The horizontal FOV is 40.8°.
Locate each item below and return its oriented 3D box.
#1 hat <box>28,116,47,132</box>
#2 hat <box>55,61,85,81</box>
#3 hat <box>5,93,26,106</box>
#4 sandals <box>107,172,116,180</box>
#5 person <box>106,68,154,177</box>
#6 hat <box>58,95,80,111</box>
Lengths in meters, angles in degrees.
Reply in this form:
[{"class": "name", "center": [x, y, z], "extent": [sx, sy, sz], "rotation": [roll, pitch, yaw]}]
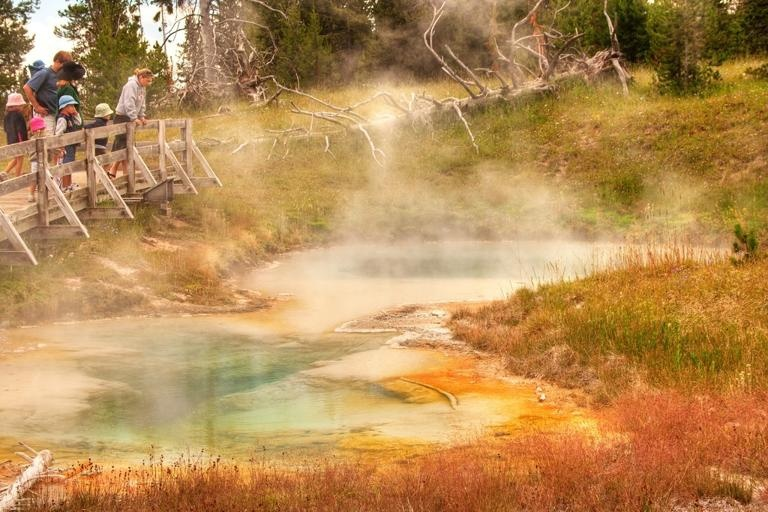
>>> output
[{"class": "hat", "center": [-9.399, -3.608, 28.197], "extent": [0.378, 0.313, 0.381], "rotation": [-10, 31, -17]}, {"class": "hat", "center": [-8.717, -4.985, 28.751], "extent": [0.682, 0.689, 0.225], "rotation": [27, -32, 8]}, {"class": "hat", "center": [-9.886, -4.173, 27.899], "extent": [0.452, 0.257, 0.477], "rotation": [-7, 8, -37]}, {"class": "sandals", "center": [-7.981, -2.368, 30.579], "extent": [0.149, 0.158, 0.390], "rotation": [-4, 6, -43]}, {"class": "person", "center": [-7.466, -3.876, 30.485], "extent": [0.985, 3.381, 1.008], "rotation": [6, -2, -41]}, {"class": "hat", "center": [-8.710, -4.203, 28.679], "extent": [0.421, 0.227, 0.400], "rotation": [-17, 7, -9]}]
